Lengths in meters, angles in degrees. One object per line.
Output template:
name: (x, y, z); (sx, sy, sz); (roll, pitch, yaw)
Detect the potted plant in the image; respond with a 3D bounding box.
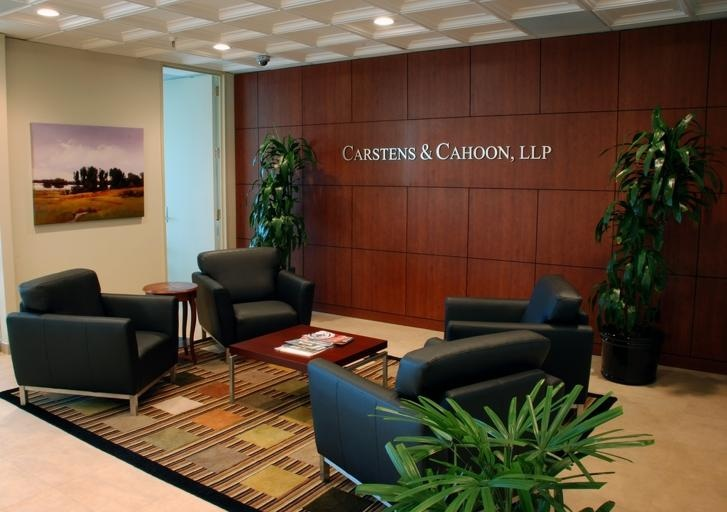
potted plant: (2.918, -0.085, 4.931); (0.989, 2.786, 1.062); (9, 15, 34)

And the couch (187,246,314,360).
couch: (-1.342, 0.489, 5.737); (1.295, 0.973, 1.201); (-1, 10, -26)

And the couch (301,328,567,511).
couch: (0.492, 1.077, 3.426); (1.542, 1.053, 1.608); (-2, 0, 34)

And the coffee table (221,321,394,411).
coffee table: (-0.503, 1.097, 4.629); (1.242, 0.532, 0.974); (1, 5, 37)
